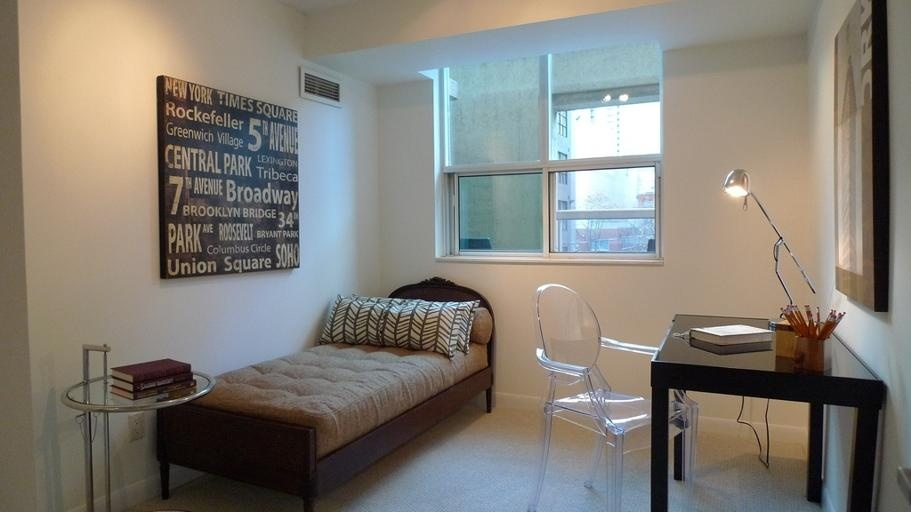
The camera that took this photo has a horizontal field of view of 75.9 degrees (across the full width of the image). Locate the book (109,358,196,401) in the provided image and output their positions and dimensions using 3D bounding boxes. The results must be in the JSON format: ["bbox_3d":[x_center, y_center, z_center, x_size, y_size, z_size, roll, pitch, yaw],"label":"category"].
[{"bbox_3d":[-2.005,0.756,3.800,0.283,0.110,0.333,0,1,39],"label":"book"}]

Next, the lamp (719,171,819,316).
[{"bbox_3d":[2.392,-0.120,4.389,0.649,1.056,1.016,1,6,27],"label":"lamp"}]

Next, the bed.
[{"bbox_3d":[-0.835,1.009,4.760,1.287,1.179,2.212,1,2,30],"label":"bed"}]

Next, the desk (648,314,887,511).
[{"bbox_3d":[1.980,0.743,3.912,1.109,1.254,2.003,0,3,19],"label":"desk"}]

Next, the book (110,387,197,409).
[{"bbox_3d":[-1.895,0.898,3.664,0.259,0.042,0.265,3,6,34],"label":"book"}]

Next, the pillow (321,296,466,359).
[{"bbox_3d":[-0.524,0.606,5.322,1.451,0.435,0.444,1,1,27],"label":"pillow"}]

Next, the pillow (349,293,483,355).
[{"bbox_3d":[-0.386,0.681,5.370,1.353,0.444,0.454,-3,-21,39],"label":"pillow"}]
